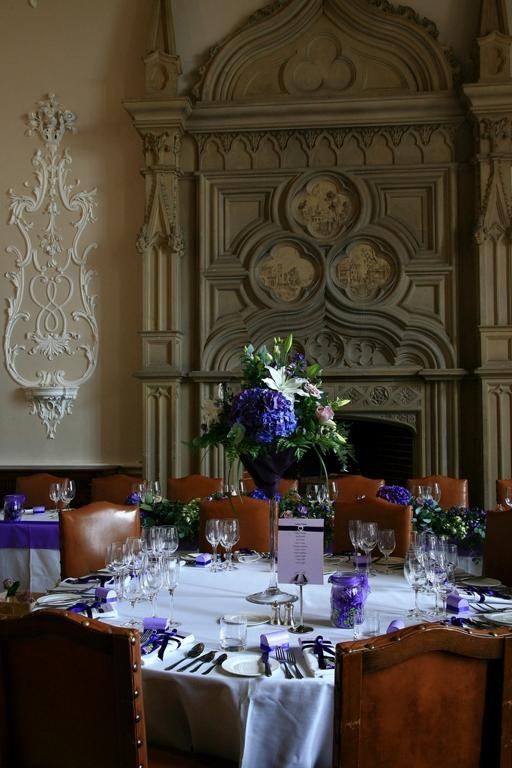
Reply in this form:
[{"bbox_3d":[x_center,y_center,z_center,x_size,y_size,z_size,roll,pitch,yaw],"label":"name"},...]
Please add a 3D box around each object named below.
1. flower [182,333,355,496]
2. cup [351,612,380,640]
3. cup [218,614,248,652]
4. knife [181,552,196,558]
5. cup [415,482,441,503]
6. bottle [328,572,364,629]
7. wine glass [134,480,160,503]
[{"bbox_3d":[0.040,0.138,2.358,0.441,0.414,0.402,1,19,32],"label":"flower"},{"bbox_3d":[0.267,0.590,1.775,0.075,0.076,0.071,-1,-4,0],"label":"cup"},{"bbox_3d":[-0.060,0.617,1.787,0.063,0.068,0.061,-1,-4,0],"label":"cup"},{"bbox_3d":[-0.281,0.705,2.947,0.031,0.009,0.054,4,-1,0],"label":"knife"},{"bbox_3d":[0.950,0.603,3.911,0.137,0.146,0.130,-1,0,0],"label":"cup"},{"bbox_3d":[0.253,0.584,1.930,0.108,0.139,0.088,1,-1,-13],"label":"bottle"},{"bbox_3d":[-0.618,0.611,4.034,0.123,0.117,0.123,-1,0,-4],"label":"wine glass"}]
